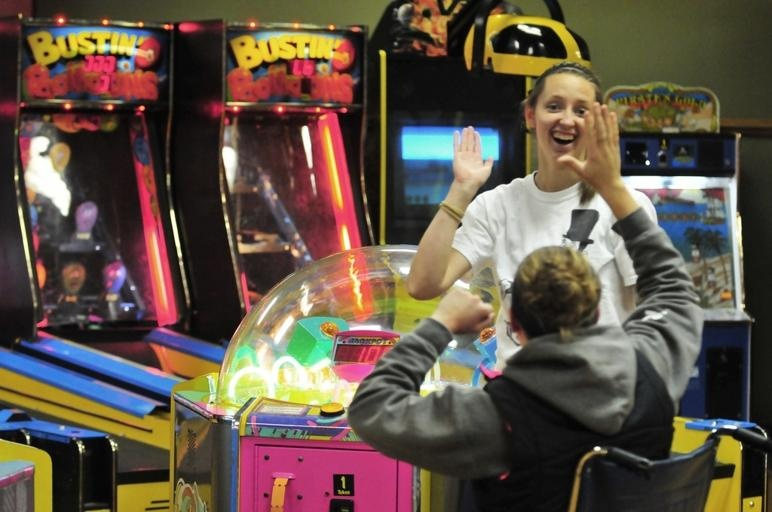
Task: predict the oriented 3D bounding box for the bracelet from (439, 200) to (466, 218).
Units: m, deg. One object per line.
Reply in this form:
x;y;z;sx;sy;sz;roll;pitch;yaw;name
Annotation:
0.269;-0.187;3.695;0.077;0.030;0.075;26;-3;20;bracelet

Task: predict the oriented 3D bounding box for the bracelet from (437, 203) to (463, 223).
0.260;-0.183;3.703;0.089;0.035;0.087;35;2;-38;bracelet
